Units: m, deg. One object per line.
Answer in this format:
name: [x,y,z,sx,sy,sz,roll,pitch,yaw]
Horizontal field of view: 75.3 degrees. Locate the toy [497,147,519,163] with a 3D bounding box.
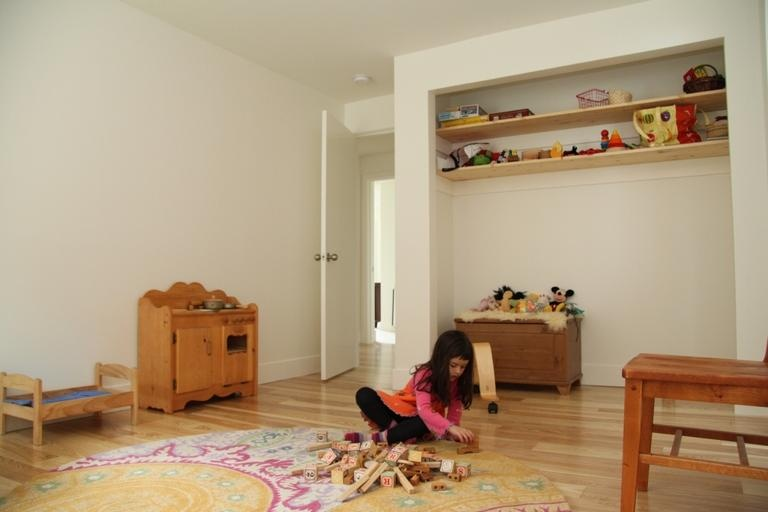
toy: [1.231,-0.959,4.856,0.197,0.168,0.191,3,5,40]

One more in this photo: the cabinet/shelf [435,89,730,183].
cabinet/shelf: [1.747,-1.054,4.601,2.460,0.549,0.476,0,2,22]

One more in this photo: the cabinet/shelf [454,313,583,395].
cabinet/shelf: [1.355,0.935,4.759,0.971,0.555,0.542,-6,-9,36]

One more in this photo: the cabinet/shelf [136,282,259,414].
cabinet/shelf: [-1.587,0.801,4.138,0.505,1.096,1.079,-4,-5,37]

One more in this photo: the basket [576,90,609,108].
basket: [1.920,-1.450,4.565,0.202,0.125,0.303,1,1,42]
